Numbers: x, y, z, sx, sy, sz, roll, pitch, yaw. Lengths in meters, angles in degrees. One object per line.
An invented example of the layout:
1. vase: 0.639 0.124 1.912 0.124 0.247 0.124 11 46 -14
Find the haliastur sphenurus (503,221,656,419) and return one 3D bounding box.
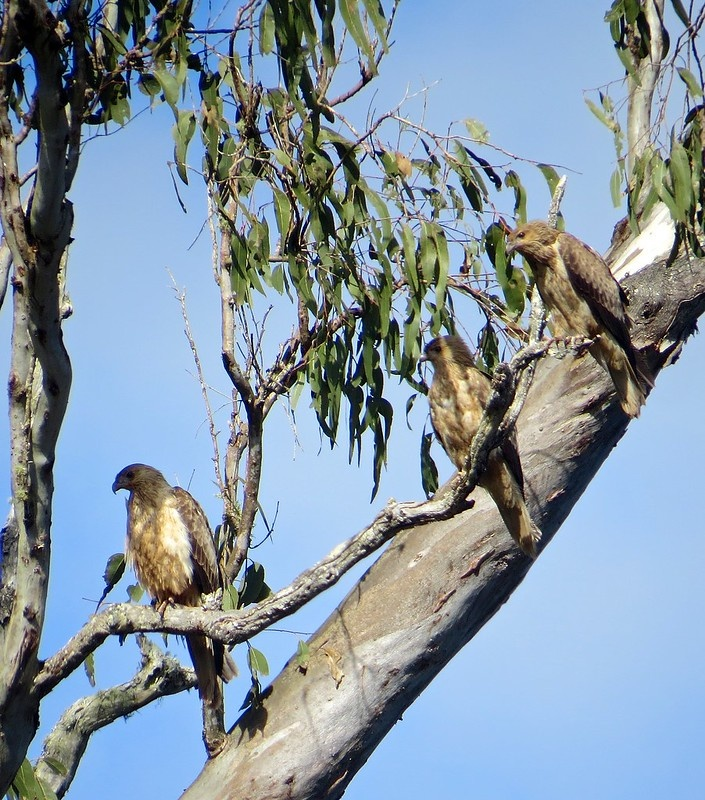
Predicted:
1. haliastur sphenurus: 1.051 -0.416 7.393 0.721 0.760 0.369 9 -14 -31

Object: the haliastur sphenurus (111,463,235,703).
1. haliastur sphenurus: -0.801 0.836 7.459 0.300 1.048 0.600 -21 -31 22
